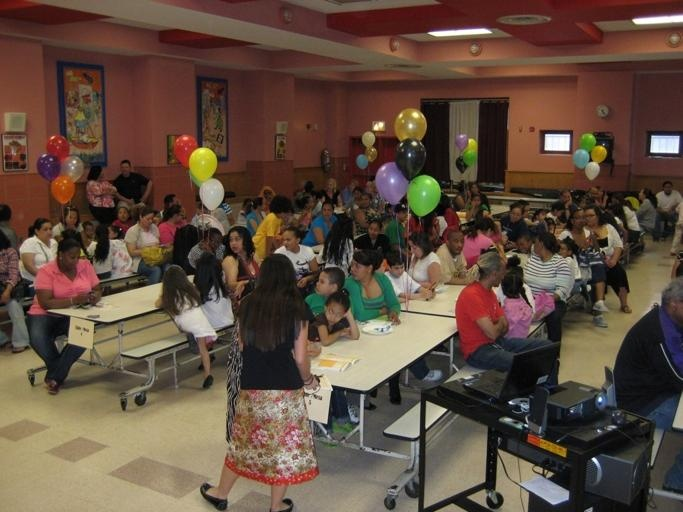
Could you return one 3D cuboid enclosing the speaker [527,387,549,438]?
[{"bbox_3d":[1.072,0.854,2.891,0.063,0.239,0.112,3,-2,-12],"label":"speaker"}]

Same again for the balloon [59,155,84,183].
[{"bbox_3d":[-4.347,-1.408,8.611,0.362,0.489,0.375,-2,-3,-21],"label":"balloon"}]

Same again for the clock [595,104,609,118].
[{"bbox_3d":[6.762,-3.807,13.737,0.334,0.375,0.199,5,13,21],"label":"clock"}]

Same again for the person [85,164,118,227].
[{"bbox_3d":[-4.968,-1.128,10.964,0.478,1.466,0.499,-4,13,-10],"label":"person"}]

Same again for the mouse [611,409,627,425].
[{"bbox_3d":[1.549,0.914,2.968,0.067,0.131,0.066,6,7,32],"label":"mouse"}]

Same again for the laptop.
[{"bbox_3d":[1.059,0.674,3.385,0.519,0.341,0.418,-3,16,-37],"label":"laptop"}]

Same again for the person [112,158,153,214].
[{"bbox_3d":[-4.612,-1.576,11.572,0.767,1.054,0.551,-17,14,-38],"label":"person"}]

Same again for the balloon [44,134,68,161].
[{"bbox_3d":[-4.540,-1.745,8.433,0.249,0.372,0.651,-3,13,-15],"label":"balloon"}]

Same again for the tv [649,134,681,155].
[{"bbox_3d":[8.696,-3.042,14.277,0.760,0.606,0.037,7,13,28],"label":"tv"}]

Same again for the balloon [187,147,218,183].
[{"bbox_3d":[-1.950,-1.288,7.408,0.416,0.579,0.426,1,3,16],"label":"balloon"}]

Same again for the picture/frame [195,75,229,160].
[{"bbox_3d":[-3.393,-3.681,13.900,0.074,2.122,1.078,7,10,31],"label":"picture/frame"}]

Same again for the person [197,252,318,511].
[{"bbox_3d":[-0.522,0.733,3.371,0.496,1.524,0.600,0,4,-11],"label":"person"}]

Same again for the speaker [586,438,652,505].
[{"bbox_3d":[1.503,1.179,2.829,0.393,0.275,0.189,-6,14,-27],"label":"speaker"}]

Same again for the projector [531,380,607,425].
[{"bbox_3d":[1.310,0.833,3.024,0.322,0.206,0.421,4,7,29],"label":"projector"}]
